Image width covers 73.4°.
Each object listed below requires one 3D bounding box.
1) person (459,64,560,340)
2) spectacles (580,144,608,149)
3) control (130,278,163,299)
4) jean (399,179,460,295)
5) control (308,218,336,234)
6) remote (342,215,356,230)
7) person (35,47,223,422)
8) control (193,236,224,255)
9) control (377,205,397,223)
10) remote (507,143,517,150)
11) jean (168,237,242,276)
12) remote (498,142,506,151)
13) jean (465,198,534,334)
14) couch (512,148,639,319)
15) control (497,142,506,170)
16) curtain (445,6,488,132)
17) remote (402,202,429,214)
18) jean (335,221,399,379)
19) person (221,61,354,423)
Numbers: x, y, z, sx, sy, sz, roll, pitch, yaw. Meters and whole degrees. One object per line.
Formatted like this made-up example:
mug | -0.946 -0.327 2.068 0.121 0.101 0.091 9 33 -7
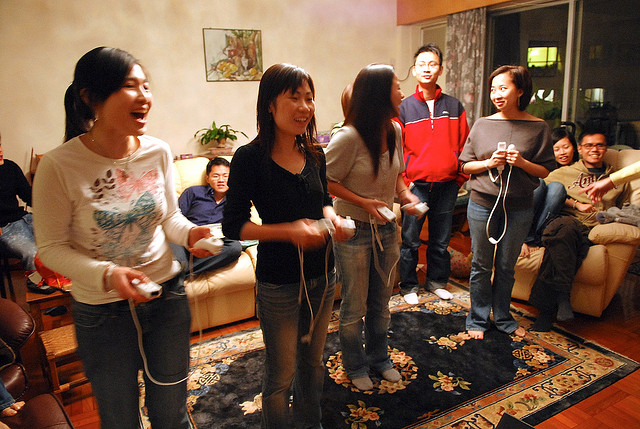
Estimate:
person | 1.374 -0.064 3.174 0.601 1.962 0.486 -2 17 1
spectacles | 2.320 -0.574 3.632 0.179 0.042 0.060 -2 17 1
control | -0.703 0.300 1.750 0.119 0.031 0.064 28 52 16
jean | 0.973 0.201 3.849 0.547 0.999 0.409 -2 17 0
control | 0.011 0.062 2.050 0.077 0.071 0.125 11 22 38
remote | 0.148 0.040 2.169 0.069 0.064 0.068 1 -4 6
person | -0.851 0.117 1.881 0.513 1.607 0.571 11 22 37
control | -0.501 0.135 1.946 0.117 0.041 0.065 8 33 12
control | 0.382 -0.013 2.462 0.074 0.024 0.102 -26 57 -40
remote | 1.333 -0.471 2.981 0.042 0.040 0.041 -16 39 -13
jean | -0.884 0.360 3.447 0.424 0.138 0.410 -12 29 -30
remote | 1.247 -0.470 2.959 0.042 0.051 0.012 1 -1 9
jean | 1.355 0.315 3.266 0.423 1.244 0.295 2 19 24
couch | 2.351 0.105 3.996 1.409 1.355 1.066 -8 10 -44
control | 1.261 -0.407 3.004 0.054 0.187 0.121 4 19 21
curtain | 1.860 -1.880 5.571 0.555 1.432 0.369 7 20 28
remote | 0.584 -0.062 2.578 0.118 0.063 0.109 -7 6 -22
jean | 0.302 0.562 2.738 0.394 1.070 0.235 -2 17 3
person | -0.170 0.239 2.193 0.595 1.910 0.433 -8 18 -16
